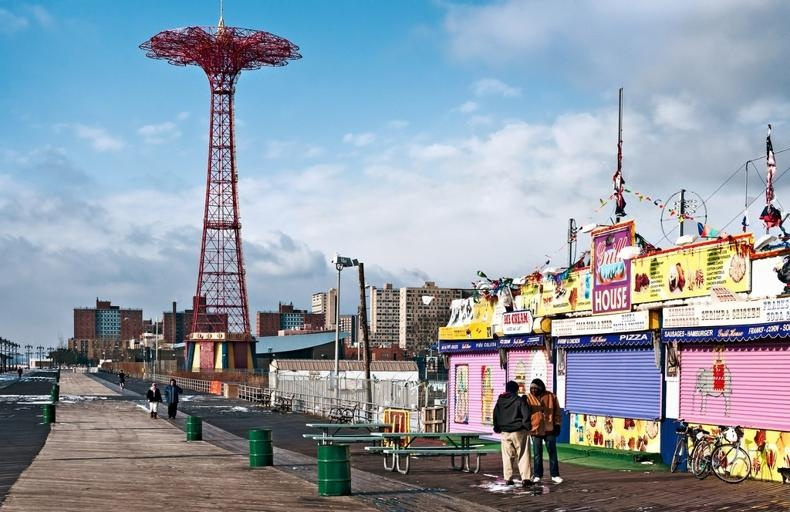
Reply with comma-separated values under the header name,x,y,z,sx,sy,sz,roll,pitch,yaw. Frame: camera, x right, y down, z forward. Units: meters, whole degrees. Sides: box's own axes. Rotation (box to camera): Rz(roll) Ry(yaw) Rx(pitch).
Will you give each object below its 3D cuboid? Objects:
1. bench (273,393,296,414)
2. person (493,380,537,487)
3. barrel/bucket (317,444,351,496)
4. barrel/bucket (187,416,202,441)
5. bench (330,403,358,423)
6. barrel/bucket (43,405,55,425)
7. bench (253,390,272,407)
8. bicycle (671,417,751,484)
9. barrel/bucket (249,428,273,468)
name,x,y,z,sx,sy,sz,roll,pitch,yaw
bench,-6.119,7.937,57.564,1.052,1.334,1.098,-5,-12,32
person,2.963,4.512,27.114,0.907,2.616,0.961,-2,-11,5
barrel/bucket,-1.529,5.263,26.168,0.781,1.228,0.448,-1,-11,-1
barrel/bucket,-7.112,6.064,37.458,0.461,0.855,0.780,2,-11,-15
bench,-2.374,7.043,47.752,1.230,0.749,0.836,0,-6,10
barrel/bucket,-14.464,6.558,44.380,0.376,0.789,0.563,5,-12,-29
bench,-7.775,8.366,62.344,0.876,1.060,1.011,1,-12,-4
bicycle,8.318,5.243,28.407,1.050,1.132,2.062,7,-6,-39
barrel/bucket,-3.872,5.515,30.484,0.641,1.051,0.745,0,-11,-6
